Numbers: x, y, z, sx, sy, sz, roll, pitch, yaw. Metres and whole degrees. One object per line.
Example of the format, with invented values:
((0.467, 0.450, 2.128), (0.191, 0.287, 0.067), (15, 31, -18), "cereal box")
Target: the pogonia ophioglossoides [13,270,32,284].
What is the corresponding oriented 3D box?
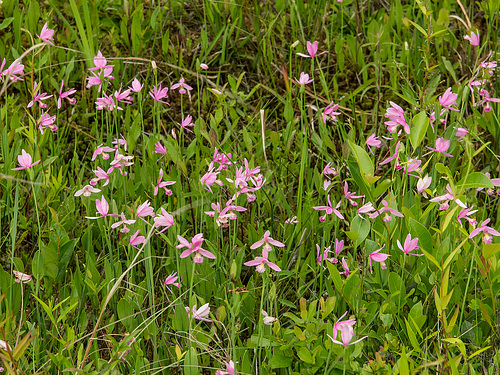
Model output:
((-0.997, 0.388, 2.160), (0.078, 0.038, 0.076), (8, 84, 9), "pogonia ophioglossoides")
